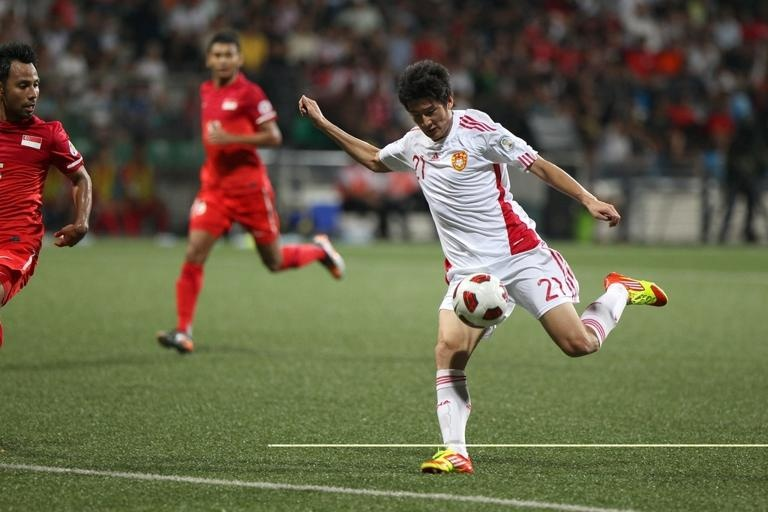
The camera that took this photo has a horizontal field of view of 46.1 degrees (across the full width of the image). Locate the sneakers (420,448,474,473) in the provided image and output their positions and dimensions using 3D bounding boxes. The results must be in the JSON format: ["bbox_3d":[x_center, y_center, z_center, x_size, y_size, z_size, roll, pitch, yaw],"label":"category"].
[{"bbox_3d":[0.373,1.217,5.353,0.256,0.119,0.137,6,-16,-13],"label":"sneakers"}]

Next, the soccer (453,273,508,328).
[{"bbox_3d":[0.609,0.281,5.559,0.320,0.312,0.318,13,-4,23],"label":"soccer"}]

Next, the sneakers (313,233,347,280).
[{"bbox_3d":[-0.530,0.052,9.087,0.195,0.491,0.268,-24,35,-6],"label":"sneakers"}]
